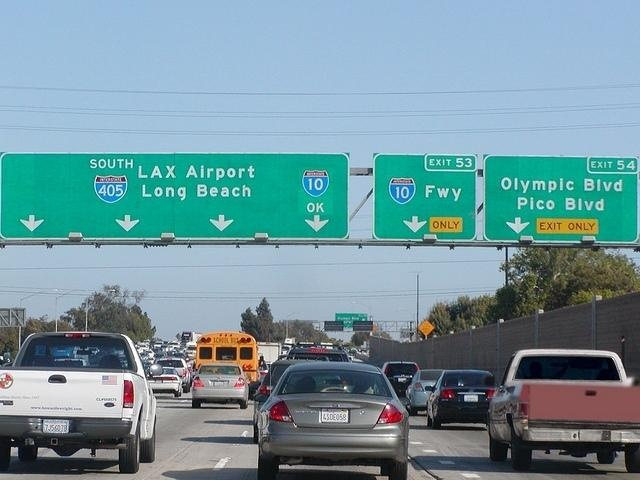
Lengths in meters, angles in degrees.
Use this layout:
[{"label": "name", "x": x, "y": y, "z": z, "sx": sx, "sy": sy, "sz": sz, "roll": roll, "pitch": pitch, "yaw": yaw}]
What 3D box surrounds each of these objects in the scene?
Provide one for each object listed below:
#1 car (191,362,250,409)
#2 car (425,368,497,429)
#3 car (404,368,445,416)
[{"label": "car", "x": -3.887, "y": 5.865, "z": 47.173, "sx": 1.955, "sy": 1.886, "sz": 5.327, "roll": 1, "pitch": -9, "yaw": -3}, {"label": "car", "x": 4.394, "y": 5.032, "z": 37.567, "sx": 1.881, "sy": 1.847, "sz": 4.791, "roll": 2, "pitch": -5, "yaw": 0}, {"label": "car", "x": 4.126, "y": 5.389, "z": 44.231, "sx": 1.307, "sy": 1.379, "sz": 3.533, "roll": -6, "pitch": -1, "yaw": 7}]
